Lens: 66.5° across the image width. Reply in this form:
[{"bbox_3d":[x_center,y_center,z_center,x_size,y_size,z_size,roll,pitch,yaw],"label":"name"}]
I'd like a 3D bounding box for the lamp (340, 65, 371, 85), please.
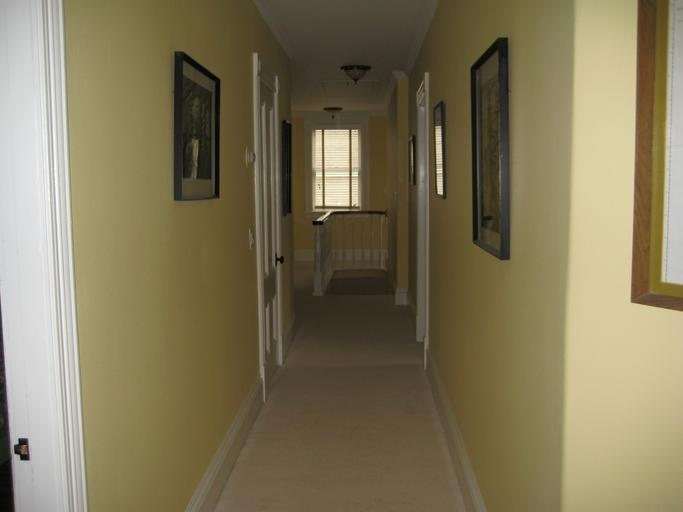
[{"bbox_3d":[0.155,-2.055,5.882,0.200,0.140,0.226,-2,5,0],"label":"lamp"}]
